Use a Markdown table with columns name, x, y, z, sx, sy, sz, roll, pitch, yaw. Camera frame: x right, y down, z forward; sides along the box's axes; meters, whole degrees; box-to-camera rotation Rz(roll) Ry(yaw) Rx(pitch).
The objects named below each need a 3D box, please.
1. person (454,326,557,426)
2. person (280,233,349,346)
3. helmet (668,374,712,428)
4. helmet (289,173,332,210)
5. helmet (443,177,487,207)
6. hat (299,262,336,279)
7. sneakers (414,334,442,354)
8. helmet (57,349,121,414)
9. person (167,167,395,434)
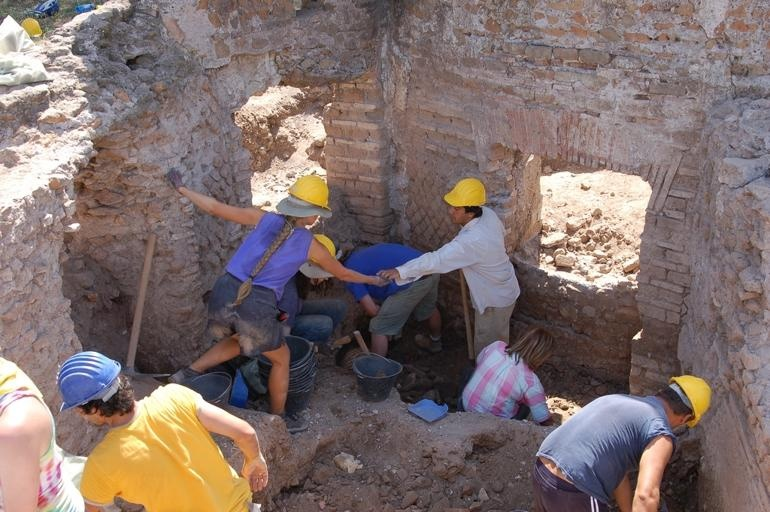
| name | x | y | z | sx | sy | sz | roll | pitch | yaw |
| --- | --- | --- | --- | --- | --- | --- | --- | --- | --- |
| person | 0.931 | 0.884 | 5.137 | 0.660 | 0.703 | 0.380 | 2 | 36 | 6 |
| person | -0.648 | 0.393 | 5.692 | 0.623 | 1.102 | 0.483 | 0 | 36 | -14 |
| helmet | 1.866 | 0.832 | 4.104 | 0.182 | 0.245 | 0.331 | -15 | 42 | -1 |
| helmet | -0.552 | -0.515 | 4.932 | 0.294 | 0.173 | 0.346 | -17 | 30 | -36 |
| helmet | 0.689 | -0.510 | 5.706 | 0.298 | 0.157 | 0.246 | -8 | 52 | -29 |
| hat | -0.531 | 0.134 | 5.251 | 0.174 | 0.049 | 0.167 | 24 | 9 | -27 |
| sneakers | 0.435 | 0.874 | 6.888 | 0.282 | 0.172 | 0.133 | 32 | 46 | 25 |
| helmet | -1.476 | 0.596 | 3.324 | 0.327 | 0.180 | 0.231 | -25 | 54 | -14 |
| person | -0.828 | 0.393 | 5.210 | 1.445 | 1.597 | 1.142 | 32 | 31 | 23 |
